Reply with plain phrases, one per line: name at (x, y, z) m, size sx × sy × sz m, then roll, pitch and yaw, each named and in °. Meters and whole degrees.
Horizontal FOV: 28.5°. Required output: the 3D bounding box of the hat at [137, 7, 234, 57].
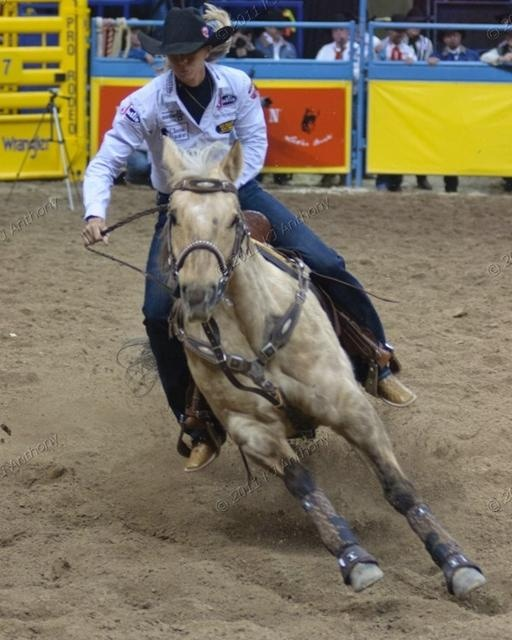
hat at (-0.335, -1.407, 5.082) m, size 0.449 × 0.153 × 0.429 m, roll -7°, pitch 14°, yaw 15°

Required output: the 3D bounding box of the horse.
horse at (0.204, 0.170, 4.499) m, size 1.247 × 1.897 × 0.909 m, roll 1°, pitch 14°, yaw -5°

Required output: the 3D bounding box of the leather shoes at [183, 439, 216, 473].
leather shoes at (-0.295, 0.744, 5.449) m, size 0.121 × 0.082 × 0.227 m, roll -10°, pitch 6°, yaw 22°

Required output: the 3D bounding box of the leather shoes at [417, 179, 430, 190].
leather shoes at (2.011, -1.627, 12.182) m, size 0.062 × 0.139 × 0.149 m, roll -15°, pitch 16°, yaw 5°
